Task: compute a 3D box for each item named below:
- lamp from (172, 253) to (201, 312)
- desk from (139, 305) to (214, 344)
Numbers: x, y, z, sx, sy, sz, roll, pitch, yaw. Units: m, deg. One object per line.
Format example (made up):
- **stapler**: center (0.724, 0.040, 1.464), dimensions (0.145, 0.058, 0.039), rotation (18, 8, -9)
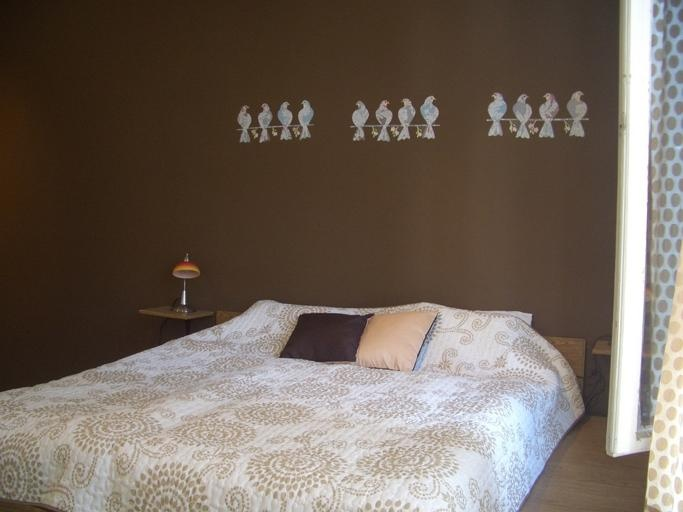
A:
- **lamp**: center (-1.296, 0.227, 4.579), dimensions (0.235, 0.456, 0.418), rotation (-2, 10, -17)
- **desk**: center (-1.240, 0.591, 4.482), dimensions (0.337, 0.356, 0.273), rotation (8, -15, -15)
